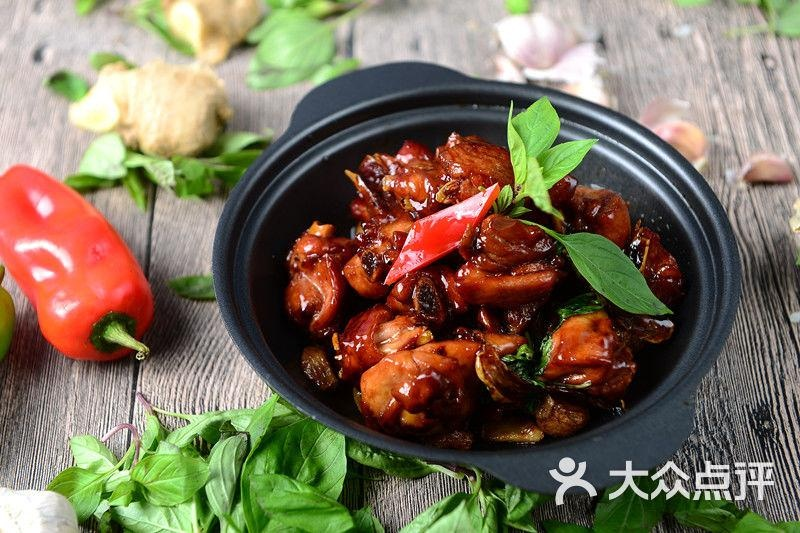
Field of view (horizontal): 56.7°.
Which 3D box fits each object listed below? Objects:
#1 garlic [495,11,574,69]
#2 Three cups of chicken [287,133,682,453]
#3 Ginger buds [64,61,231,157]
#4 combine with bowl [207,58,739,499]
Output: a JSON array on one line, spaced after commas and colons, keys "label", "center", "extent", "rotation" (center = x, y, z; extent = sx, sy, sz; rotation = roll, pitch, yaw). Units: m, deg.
[{"label": "garlic", "center": [0.631, -1.091, 3.590], "extent": [0.264, 0.251, 0.365], "rotation": [-13, 31, -22]}, {"label": "Three cups of chicken", "center": [0.247, 0.093, 2.509], "extent": [1.358, 0.373, 1.020], "rotation": [6, 84, 6]}, {"label": "Ginger buds", "center": [-1.066, -0.694, 3.183], "extent": [0.676, 0.296, 0.465], "rotation": [5, 52, -11]}, {"label": "combine with bowl", "center": [0.141, 0.239, 3.155], "extent": [1.501, 0.415, 1.755], "rotation": [-27, 58, -18]}]
